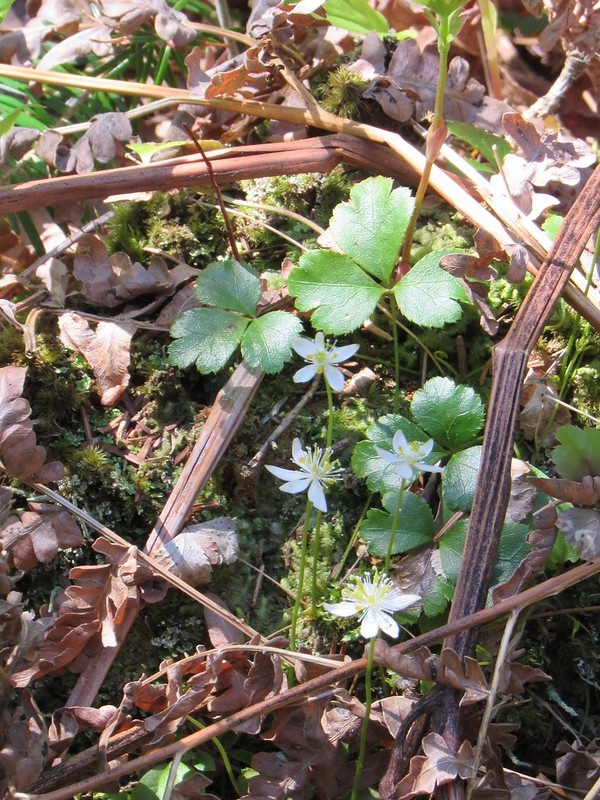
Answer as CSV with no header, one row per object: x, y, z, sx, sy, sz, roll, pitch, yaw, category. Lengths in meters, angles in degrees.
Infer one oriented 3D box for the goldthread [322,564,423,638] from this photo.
0.132,0.379,1.435,0.195,0.047,0.166,-11,9,0,goldthread

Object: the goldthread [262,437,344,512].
0.043,0.156,1.628,0.153,0.096,0.219,11,16,0,goldthread

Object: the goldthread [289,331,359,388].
0.064,-0.089,1.682,0.176,0.080,0.125,-7,28,18,goldthread

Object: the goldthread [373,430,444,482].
0.219,0.104,1.523,0.121,0.052,0.142,2,17,5,goldthread
